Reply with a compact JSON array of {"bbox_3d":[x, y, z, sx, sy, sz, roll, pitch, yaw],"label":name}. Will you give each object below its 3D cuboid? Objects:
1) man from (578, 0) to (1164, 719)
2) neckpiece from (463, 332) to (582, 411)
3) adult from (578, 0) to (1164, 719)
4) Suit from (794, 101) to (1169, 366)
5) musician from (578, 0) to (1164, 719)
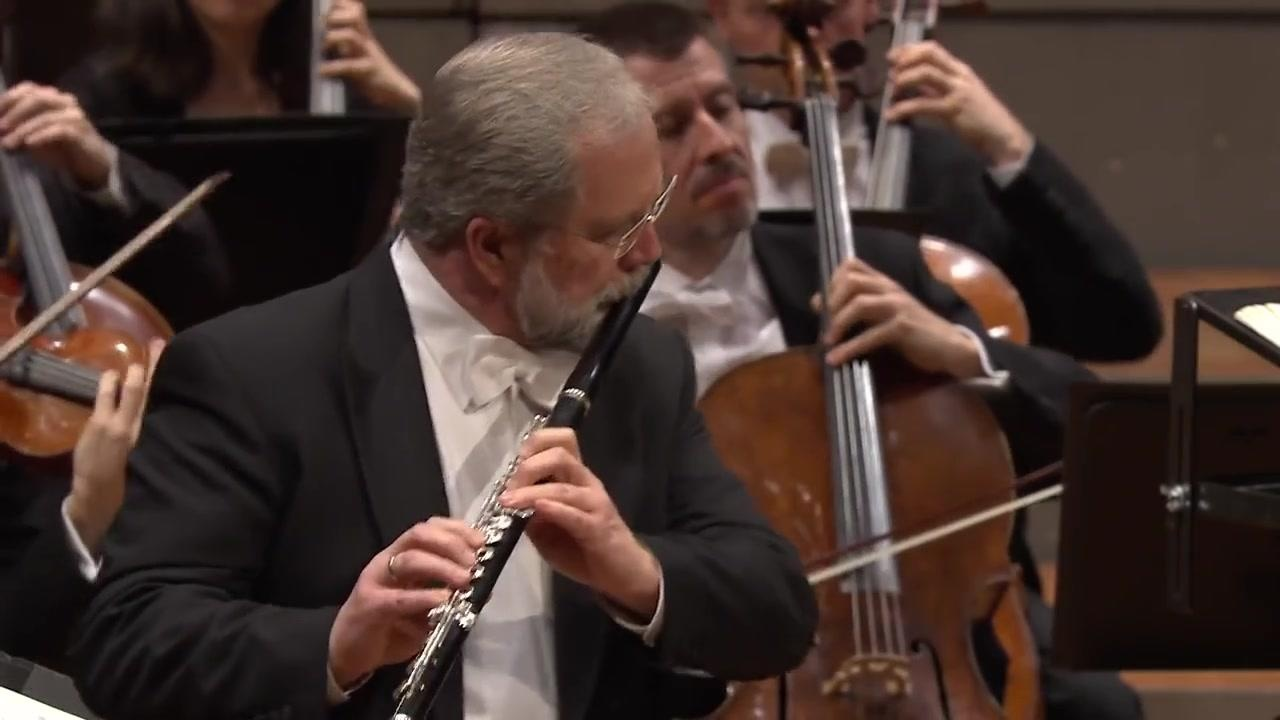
[{"bbox_3d":[0.355,-0.041,2.087,0.817,1.419,0.454,-5,-2,1],"label":"man"},{"bbox_3d":[-0.218,0.004,2.253,0.232,0.066,0.188,-2,37,-32],"label":"neckpiece"},{"bbox_3d":[0.345,-0.020,2.097,0.817,1.419,0.454,-5,-2,1],"label":"adult"},{"bbox_3d":[0.730,-0.243,2.457,0.374,0.628,0.155,-24,2,-7],"label":"Suit"},{"bbox_3d":[0.333,-0.160,2.324,0.817,1.419,0.454,-5,-2,1],"label":"musician"}]
